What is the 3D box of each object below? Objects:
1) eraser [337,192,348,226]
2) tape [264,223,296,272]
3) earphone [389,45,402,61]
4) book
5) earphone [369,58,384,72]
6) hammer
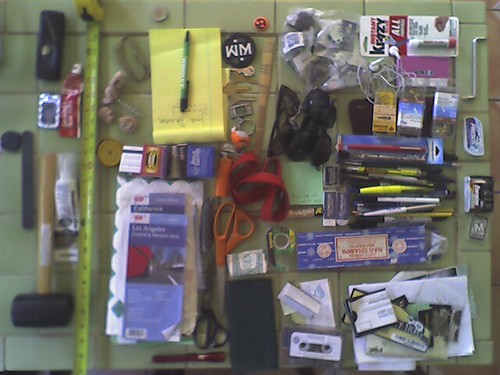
[{"bbox_3d":[0.357,0.085,2.488,0.022,0.093,0.097,4,92,3],"label":"eraser"},{"bbox_3d":[0.116,0.229,2.435,0.113,0.066,0.163,1,92,2],"label":"tape"},{"bbox_3d":[0.553,-0.521,2.485,0.055,0.020,0.033,52,124,28],"label":"earphone"},{"bbox_3d":[-0.242,-0.409,2.536,0.325,0.099,0.453,3,103,-19],"label":"book"},{"bbox_3d":[0.483,-0.471,2.490,0.017,0.042,0.058,37,94,43],"label":"earphone"},{"bbox_3d":[-0.783,0.203,2.487,0.221,0.145,0.698,3,94,-15],"label":"hammer"}]
